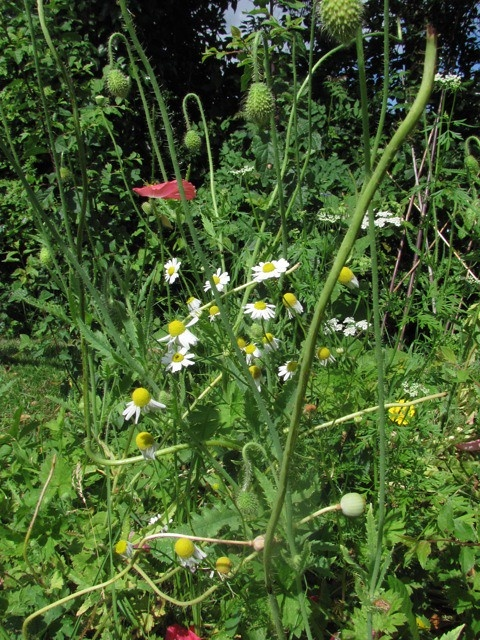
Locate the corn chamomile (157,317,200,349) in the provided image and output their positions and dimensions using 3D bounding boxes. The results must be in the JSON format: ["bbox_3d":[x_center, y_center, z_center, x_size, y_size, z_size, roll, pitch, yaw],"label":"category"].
[{"bbox_3d":[-0.131,0.028,1.168,0.072,0.026,0.070,23,53,29],"label":"corn chamomile"}]

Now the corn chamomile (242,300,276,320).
[{"bbox_3d":[0.054,-0.024,1.247,0.054,0.015,0.053,-15,31,-41],"label":"corn chamomile"}]
